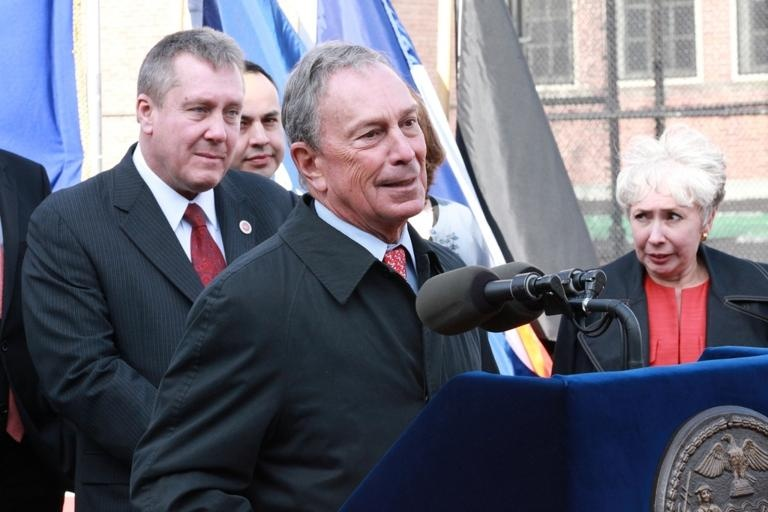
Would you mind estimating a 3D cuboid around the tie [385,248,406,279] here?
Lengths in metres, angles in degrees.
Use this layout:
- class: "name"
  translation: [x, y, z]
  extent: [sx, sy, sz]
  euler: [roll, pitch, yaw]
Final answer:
- class: "tie"
  translation: [0.039, 0.032, 4.162]
  extent: [0.083, 0.131, 0.186]
  euler: [-7, 6, 9]

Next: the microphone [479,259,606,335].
- class: "microphone"
  translation: [0.544, 0.123, 3.653]
  extent: [0.295, 0.129, 0.300]
  euler: [-15, 8, 29]

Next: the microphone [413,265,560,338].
- class: "microphone"
  translation: [0.303, 0.156, 3.619]
  extent: [0.345, 0.181, 0.263]
  euler: [-4, -2, -38]
